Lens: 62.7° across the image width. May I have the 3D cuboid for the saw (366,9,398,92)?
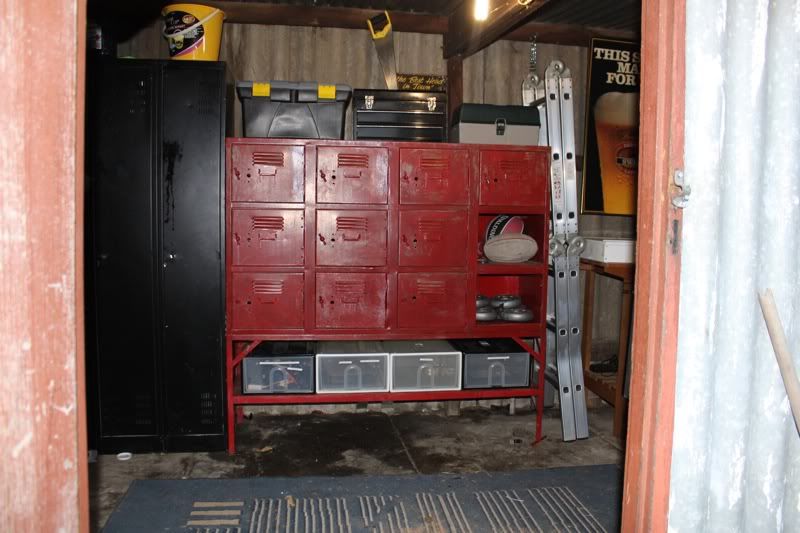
[{"bbox_3d":[-0.132,-1.661,5.030,0.244,0.542,0.217,1,6,0],"label":"saw"}]

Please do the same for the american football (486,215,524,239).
[{"bbox_3d":[0.769,-0.315,4.827,0.216,0.178,0.149,-35,46,-26],"label":"american football"}]

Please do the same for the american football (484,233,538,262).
[{"bbox_3d":[0.771,-0.132,4.595,0.320,0.185,0.189,-2,-34,10],"label":"american football"}]

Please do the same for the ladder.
[{"bbox_3d":[0.986,-0.108,4.720,0.234,2.515,0.675,1,10,-8],"label":"ladder"}]

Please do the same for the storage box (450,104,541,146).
[{"bbox_3d":[0.659,-0.954,4.807,0.635,0.356,0.458,0,4,-9],"label":"storage box"}]

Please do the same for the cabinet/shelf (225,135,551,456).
[{"bbox_3d":[-0.107,0.133,4.502,2.235,1.987,0.670,0,5,-4],"label":"cabinet/shelf"}]
